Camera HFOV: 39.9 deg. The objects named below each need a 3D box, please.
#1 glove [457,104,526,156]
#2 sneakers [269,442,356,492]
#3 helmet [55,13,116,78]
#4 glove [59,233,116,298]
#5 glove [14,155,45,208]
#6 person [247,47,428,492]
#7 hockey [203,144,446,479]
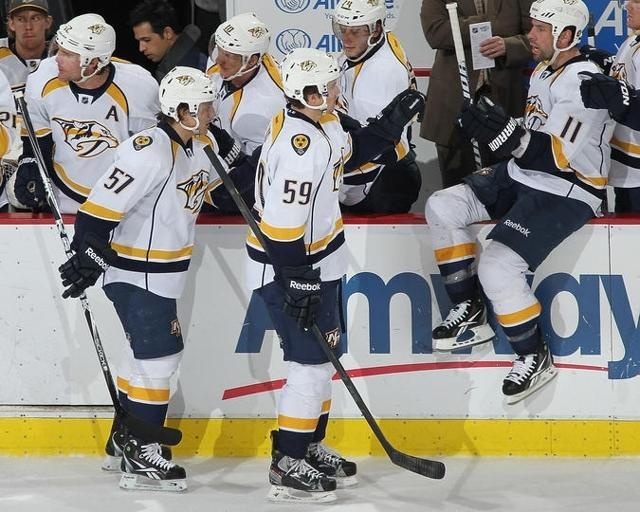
[{"bbox_3d":[0.896,-0.664,4.630,0.127,0.319,0.236,-48,-8,-17],"label":"glove"},{"bbox_3d":[-0.046,1.031,4.529,0.262,0.213,0.327,-4,-4,18],"label":"sneakers"},{"bbox_3d":[-1.270,-1.095,4.796,0.359,0.381,0.306,-6,43,-23],"label":"helmet"},{"bbox_3d":[-1.144,0.027,4.391,0.340,0.221,0.110,-40,14,15],"label":"glove"},{"bbox_3d":[-1.688,-0.428,5.134,0.200,0.263,0.106,-3,11,-4],"label":"glove"},{"bbox_3d":[-0.004,0.089,4.468,0.455,2.222,0.744,11,16,43],"label":"person"},{"bbox_3d":[0.005,0.376,4.686,0.089,2.063,0.258,-32,-4,-46],"label":"hockey"}]
